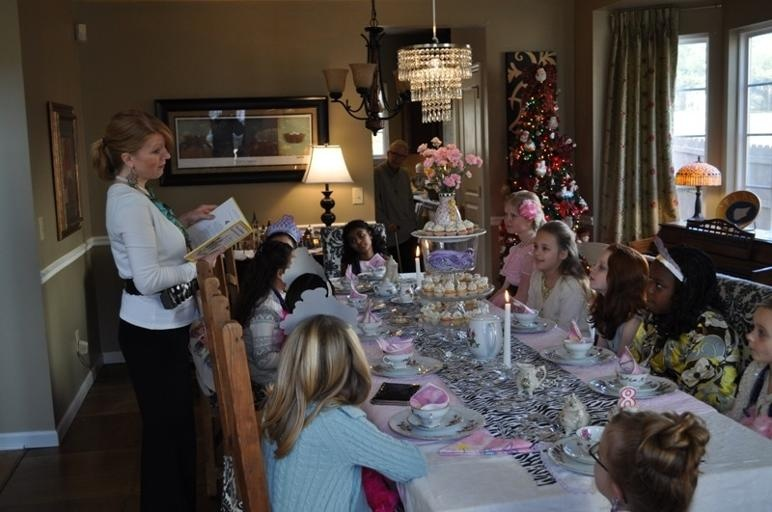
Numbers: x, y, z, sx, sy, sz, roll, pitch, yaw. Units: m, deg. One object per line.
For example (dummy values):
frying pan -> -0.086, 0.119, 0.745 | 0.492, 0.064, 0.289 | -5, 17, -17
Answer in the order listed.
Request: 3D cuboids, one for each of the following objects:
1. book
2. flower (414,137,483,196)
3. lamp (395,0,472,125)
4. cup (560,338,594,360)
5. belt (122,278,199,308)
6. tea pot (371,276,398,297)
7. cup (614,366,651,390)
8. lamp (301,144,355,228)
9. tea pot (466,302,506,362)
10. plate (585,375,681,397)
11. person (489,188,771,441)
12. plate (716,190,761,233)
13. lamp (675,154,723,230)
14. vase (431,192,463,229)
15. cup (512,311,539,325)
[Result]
book -> -0.813, -0.111, 2.520 | 0.352, 0.098, 0.338 | -26, 8, 45
flower -> 0.419, -0.621, 3.559 | 0.371, 0.364, 0.976 | 0, 12, 5
lamp -> 0.332, -1.239, 3.615 | 0.492, 0.587, 0.428 | 0, 11, 6
cup -> 0.838, 0.400, 2.269 | 0.092, 0.068, 0.096 | -1, -2, 0
belt -> -1.085, 0.182, 2.512 | 0.230, 0.102, 0.173 | 0, 9, 10
tea pot -> -0.004, 0.218, 3.478 | 0.103, 0.092, 0.143 | -1, 0, -37
cup -> 0.938, 0.450, 1.976 | 0.092, 0.066, 0.097 | -1, 2, 0
lamp -> -0.590, -0.667, 5.259 | 0.535, 0.907, 0.565 | -8, 15, -30
tea pot -> 0.468, 0.352, 2.358 | 0.170, 0.290, 0.255 | 0, -6, 13
plate -> 0.940, 0.501, 2.001 | 0.143, 0.020, 0.145 | -5, 3, -34
person -> 1.323, 0.245, 2.790 | 0.360, 0.470, 1.277 | 2, 12, -13
plate -> 3.523, -0.466, 5.215 | 0.114, 0.514, 0.465 | 26, -19, -31
lamp -> 3.225, -0.669, 5.413 | 0.447, 0.614, 0.459 | 0, 2, -29
vase -> 0.378, -0.255, 3.259 | 0.187, 0.298, 0.202 | -1, 12, 2
cup -> 0.722, 0.310, 2.701 | 0.077, 0.050, 0.080 | -2, 3, 0
